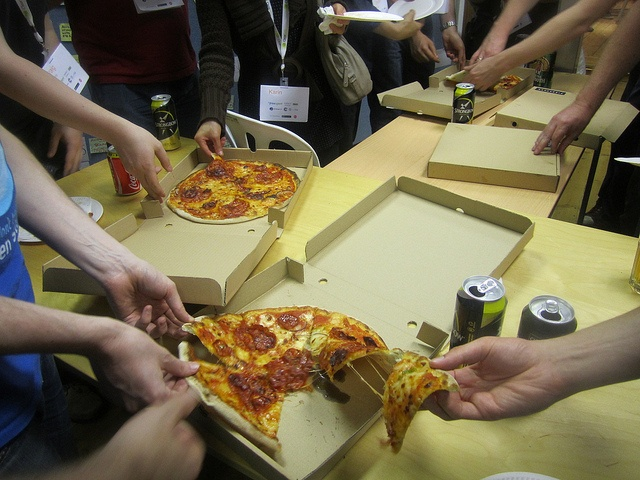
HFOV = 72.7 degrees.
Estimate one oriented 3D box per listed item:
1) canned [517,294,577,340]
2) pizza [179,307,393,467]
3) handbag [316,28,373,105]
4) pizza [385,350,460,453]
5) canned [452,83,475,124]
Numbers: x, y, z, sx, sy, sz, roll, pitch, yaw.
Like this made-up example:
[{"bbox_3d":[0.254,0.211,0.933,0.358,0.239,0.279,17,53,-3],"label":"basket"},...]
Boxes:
[{"bbox_3d":[0.630,0.218,1.210,0.075,0.133,0.079,-11,42,10],"label":"canned"},{"bbox_3d":[-0.097,0.360,1.312,0.537,0.123,0.710,22,15,37],"label":"pizza"},{"bbox_3d":[0.159,-1.028,2.562,0.203,0.424,0.309,-6,25,22],"label":"handbag"},{"bbox_3d":[0.271,0.412,1.109,0.186,0.050,0.214,18,85,58],"label":"pizza"},{"bbox_3d":[0.818,-0.770,2.504,0.109,0.293,0.113,1,49,11],"label":"canned"}]
